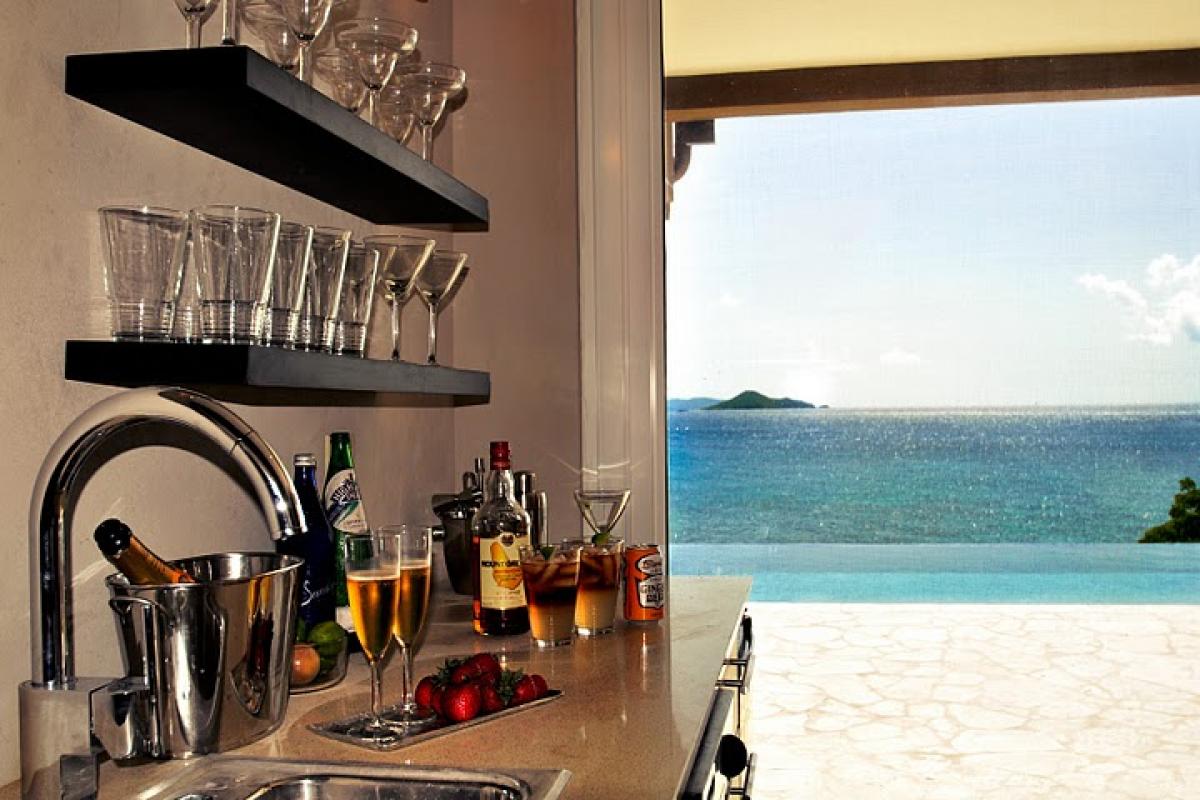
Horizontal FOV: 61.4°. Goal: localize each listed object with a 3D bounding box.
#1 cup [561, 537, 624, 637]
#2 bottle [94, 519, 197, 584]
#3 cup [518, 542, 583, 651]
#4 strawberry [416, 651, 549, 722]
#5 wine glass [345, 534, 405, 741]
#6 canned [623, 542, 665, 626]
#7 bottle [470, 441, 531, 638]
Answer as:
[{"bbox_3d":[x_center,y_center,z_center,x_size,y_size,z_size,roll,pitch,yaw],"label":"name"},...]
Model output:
[{"bbox_3d":[0.006,0.439,2.365,0.144,0.201,0.142,1,-15,0],"label":"cup"},{"bbox_3d":[-0.810,0.271,1.792,0.058,0.064,0.150,-29,-31,1],"label":"bottle"},{"bbox_3d":[-0.104,0.435,2.263,0.135,0.214,0.092,-1,7,-13],"label":"cup"},{"bbox_3d":[-0.227,0.534,1.917,0.160,0.066,0.123,0,-6,-18],"label":"strawberry"},{"bbox_3d":[-0.409,0.409,1.842,0.095,0.349,0.214,-2,8,-20],"label":"wine glass"},{"bbox_3d":[0.103,0.435,2.389,0.092,0.186,0.076,0,7,-1],"label":"canned"},{"bbox_3d":[-0.226,0.313,2.317,0.128,0.446,0.132,0,7,0],"label":"bottle"}]
